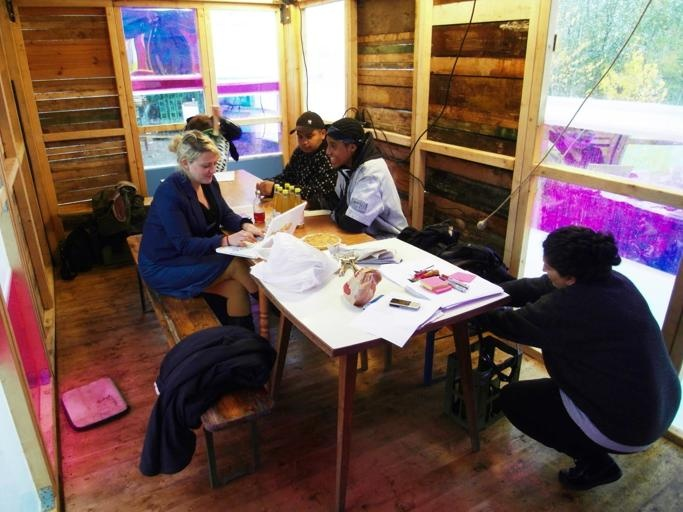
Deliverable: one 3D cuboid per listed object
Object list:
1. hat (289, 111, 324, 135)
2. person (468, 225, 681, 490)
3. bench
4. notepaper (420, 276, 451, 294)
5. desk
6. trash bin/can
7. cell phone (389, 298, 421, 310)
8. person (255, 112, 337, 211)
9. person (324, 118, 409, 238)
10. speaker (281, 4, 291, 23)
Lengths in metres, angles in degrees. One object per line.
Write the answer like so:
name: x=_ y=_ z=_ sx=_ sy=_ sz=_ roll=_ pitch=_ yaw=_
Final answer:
hat: x=-0.278 y=-1.108 z=4.055 sx=0.256 sy=0.141 sz=0.177 roll=-14 pitch=23 yaw=-40
person: x=1.168 y=0.525 z=2.419 sx=0.827 sy=1.360 sz=0.360 roll=16 pitch=30 yaw=37
bench: x=-0.811 y=0.589 z=2.776 sx=0.322 sy=0.373 sz=1.414 roll=-17 pitch=36 yaw=-29
notepaper: x=0.490 y=0.142 z=2.503 sx=0.095 sy=0.021 sz=0.096 roll=-18 pitch=30 yaw=-33
desk: x=-0.047 y=0.358 z=2.624 sx=1.338 sy=1.127 sz=1.576 roll=-18 pitch=32 yaw=-31
trash bin/can: x=0.814 y=0.747 z=2.805 sx=0.501 sy=0.457 sz=0.277 roll=-20 pitch=32 yaw=-26
cell phone: x=0.311 y=0.223 z=2.356 sx=0.114 sy=0.022 sz=0.056 roll=8 pitch=24 yaw=19
person: x=-0.312 y=-0.822 z=4.178 sx=0.567 sy=0.655 sz=0.794 roll=16 pitch=24 yaw=31
person: x=0.200 y=-0.533 z=3.625 sx=0.642 sy=0.848 sz=0.707 roll=-7 pitch=24 yaw=-24
speaker: x=-0.623 y=-2.696 z=5.478 sx=0.124 sy=0.180 sz=0.181 roll=-4 pitch=39 yaw=7
